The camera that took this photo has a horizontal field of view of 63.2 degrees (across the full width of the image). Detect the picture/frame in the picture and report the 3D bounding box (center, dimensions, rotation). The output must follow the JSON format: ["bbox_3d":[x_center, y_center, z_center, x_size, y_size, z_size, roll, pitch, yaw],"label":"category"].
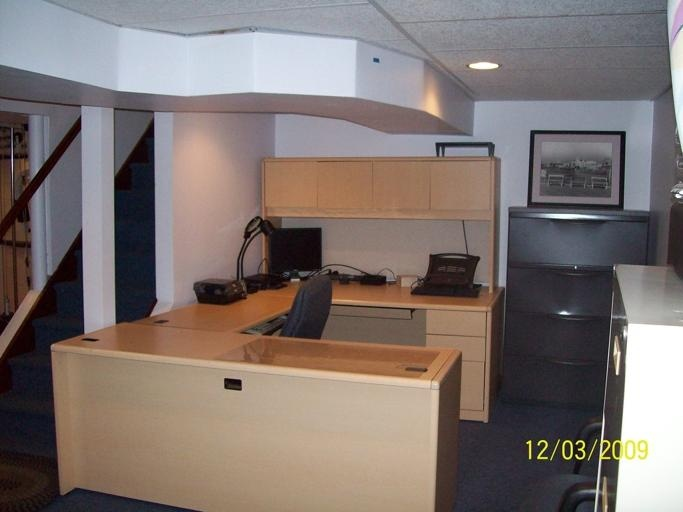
[{"bbox_3d":[1.983,-0.709,4.599,0.735,0.585,0.057,2,0,11],"label":"picture/frame"}]

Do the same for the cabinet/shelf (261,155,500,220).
[{"bbox_3d":[0.338,-0.572,4.631,1.787,0.497,0.227,1,8,8],"label":"cabinet/shelf"}]

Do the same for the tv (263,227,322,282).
[{"bbox_3d":[-0.448,-0.023,4.901,0.498,0.406,0.169,-1,2,-20],"label":"tv"}]
